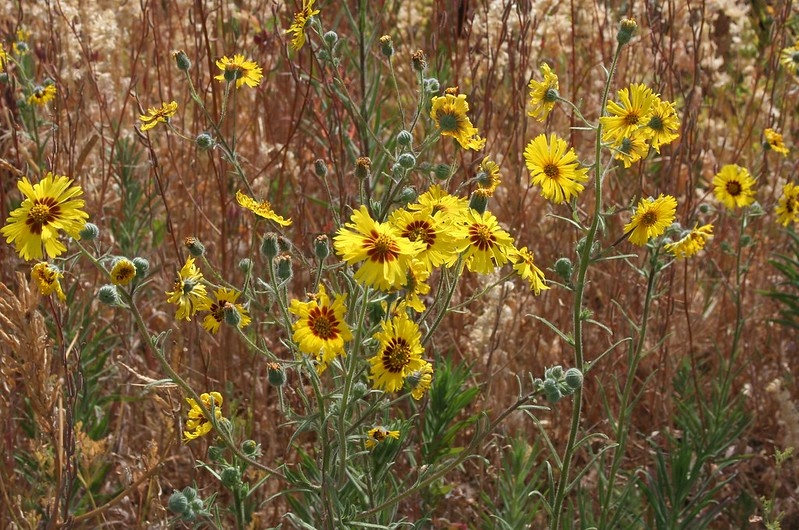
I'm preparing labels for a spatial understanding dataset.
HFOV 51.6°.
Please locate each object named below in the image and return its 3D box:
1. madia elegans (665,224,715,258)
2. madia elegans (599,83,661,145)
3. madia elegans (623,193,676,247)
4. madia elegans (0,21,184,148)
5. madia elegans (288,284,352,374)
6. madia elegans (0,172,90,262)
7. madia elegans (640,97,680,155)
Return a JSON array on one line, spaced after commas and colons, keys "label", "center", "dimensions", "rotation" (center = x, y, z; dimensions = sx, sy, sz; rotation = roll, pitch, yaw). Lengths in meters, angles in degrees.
[{"label": "madia elegans", "center": [1.208, -0.059, 3.449], "dimensions": [0.172, 0.060, 0.164], "rotation": [-49, 15, -25]}, {"label": "madia elegans", "center": [0.937, -0.615, 3.401], "dimensions": [0.246, 0.256, 0.185], "rotation": [5, 18, 1]}, {"label": "madia elegans", "center": [1.028, -0.172, 3.376], "dimensions": [0.236, 0.230, 0.157], "rotation": [-10, 23, -37]}, {"label": "madia elegans", "center": [-1.670, -0.948, 4.391], "dimensions": [0.604, 0.560, 0.633], "rotation": [-8, 32, -6]}, {"label": "madia elegans", "center": [-0.296, 0.244, 3.080], "dimensions": [0.229, 0.332, 0.316], "rotation": [2, 18, -7]}, {"label": "madia elegans", "center": [-1.304, -0.164, 3.050], "dimensions": [0.289, 0.336, 0.232], "rotation": [0, 18, -11]}, {"label": "madia elegans", "center": [1.083, -0.590, 3.450], "dimensions": [0.170, 0.231, 0.093], "rotation": [14, 3, 2]}]
